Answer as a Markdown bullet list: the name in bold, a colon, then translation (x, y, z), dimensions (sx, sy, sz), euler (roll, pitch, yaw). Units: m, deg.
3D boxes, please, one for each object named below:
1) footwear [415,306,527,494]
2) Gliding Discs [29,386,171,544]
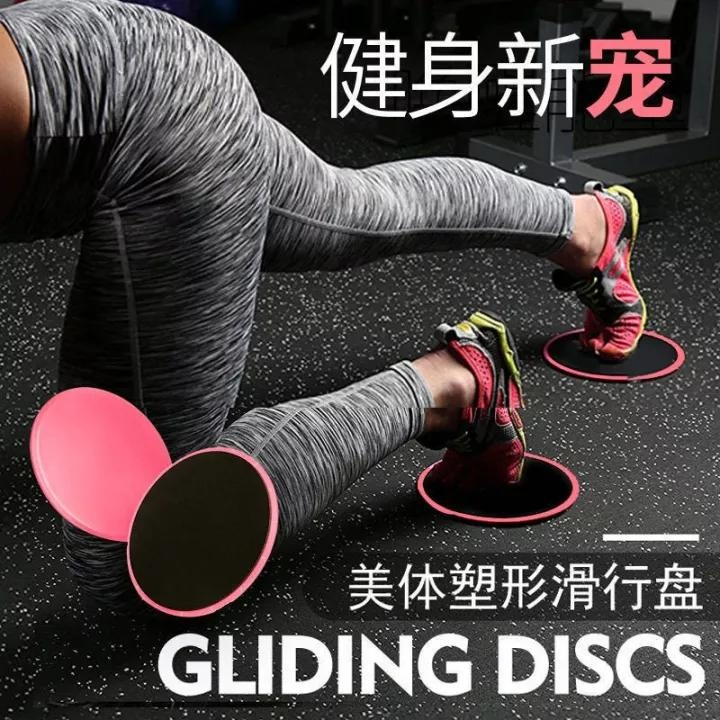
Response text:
- **footwear**: translation (0.114, 0.064, 0.971), dimensions (0.157, 0.269, 0.113), euler (0, -3, -37)
- **Gliding Discs**: translation (-0.226, 0.087, 0.605), dimensions (0.153, 0.124, 0.034), euler (2, -24, -39)
